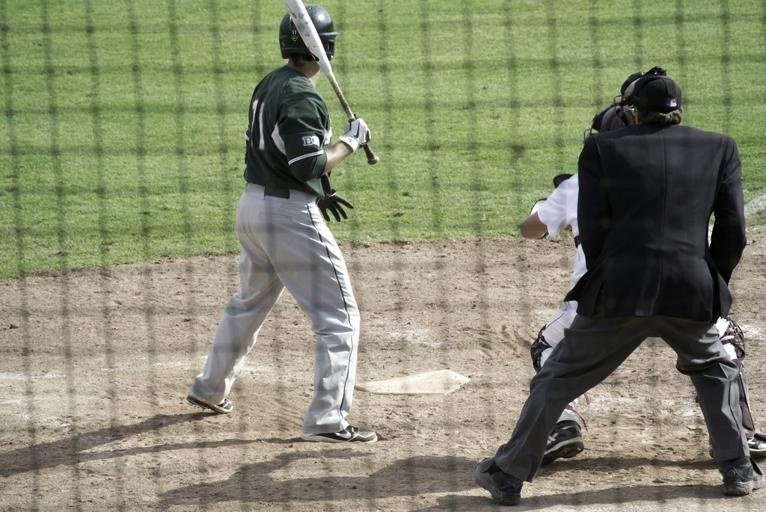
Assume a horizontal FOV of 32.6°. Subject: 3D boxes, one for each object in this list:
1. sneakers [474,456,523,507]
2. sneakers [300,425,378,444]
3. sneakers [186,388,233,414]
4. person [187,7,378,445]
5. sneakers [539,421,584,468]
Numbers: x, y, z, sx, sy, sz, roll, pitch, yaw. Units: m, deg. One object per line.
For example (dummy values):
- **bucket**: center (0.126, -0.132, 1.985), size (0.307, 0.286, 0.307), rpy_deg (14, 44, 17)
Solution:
- **sneakers**: center (0.791, 1.572, 9.204), size (0.212, 0.174, 0.455), rpy_deg (-4, 21, -31)
- **sneakers**: center (-0.305, 1.314, 9.681), size (0.610, 0.160, 0.175), rpy_deg (-2, 1, 1)
- **sneakers**: center (-1.282, 1.118, 9.996), size (0.402, 0.122, 0.162), rpy_deg (16, -45, -37)
- **person**: center (-0.614, -0.204, 9.686), size (1.269, 3.134, 0.676), rpy_deg (5, 11, 20)
- **sneakers**: center (1.270, 1.344, 9.439), size (0.432, 0.148, 0.225), rpy_deg (-23, -6, 23)
